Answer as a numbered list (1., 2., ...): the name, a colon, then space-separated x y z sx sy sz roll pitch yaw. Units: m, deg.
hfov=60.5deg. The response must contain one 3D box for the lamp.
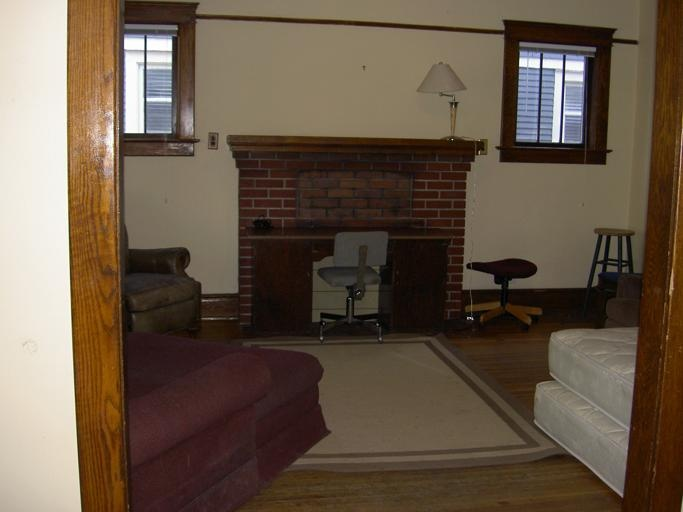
1. lamp: 0.803 -1.223 4.676 0.382 0.618 0.407 7 21 25

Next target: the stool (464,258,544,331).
1. stool: 1.341 0.302 4.744 0.525 0.520 0.540 0 4 13

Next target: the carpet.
1. carpet: 0.352 0.751 3.268 1.173 0.030 1.618 0 10 -5

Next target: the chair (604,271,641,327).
1. chair: 1.890 0.330 3.941 0.197 0.340 0.657 5 10 26

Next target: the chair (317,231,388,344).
1. chair: 0.087 0.192 4.314 0.499 0.814 0.732 1 9 1

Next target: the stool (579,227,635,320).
1. stool: 2.325 0.096 5.068 0.429 0.597 0.431 8 -7 -33

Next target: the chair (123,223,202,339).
1. chair: -1.172 0.221 3.889 0.468 0.639 0.816 -2 10 -20
